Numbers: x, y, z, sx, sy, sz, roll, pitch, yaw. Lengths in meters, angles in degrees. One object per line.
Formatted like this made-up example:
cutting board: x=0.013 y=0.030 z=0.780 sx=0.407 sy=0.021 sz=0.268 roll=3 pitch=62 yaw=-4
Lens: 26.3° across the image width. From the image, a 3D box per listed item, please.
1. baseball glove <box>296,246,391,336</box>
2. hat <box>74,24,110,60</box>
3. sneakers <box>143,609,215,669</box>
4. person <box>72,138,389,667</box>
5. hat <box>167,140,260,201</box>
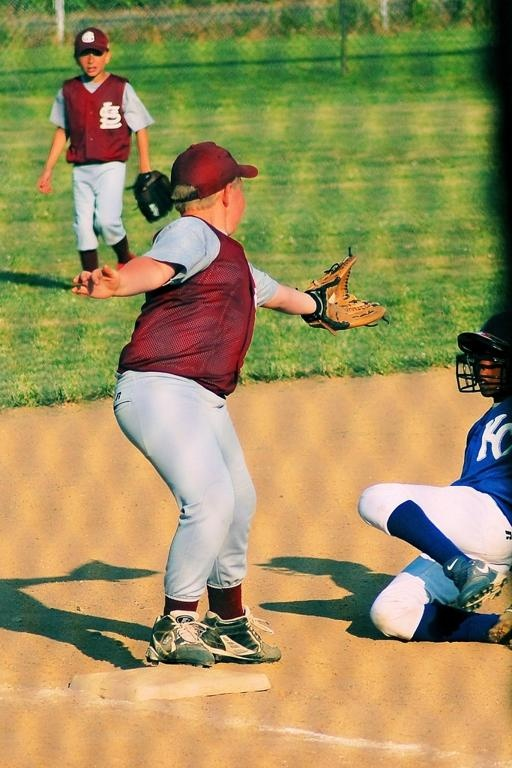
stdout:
baseball glove: x=0.279 y=-0.218 z=3.478 sx=0.233 sy=0.137 sz=0.281 roll=-16 pitch=59 yaw=23
hat: x=-1.047 y=-2.151 z=6.948 sx=0.199 sy=0.209 sz=0.335 roll=-4 pitch=14 yaw=-9
sneakers: x=-0.162 y=0.715 z=3.024 sx=0.271 sy=0.127 sz=0.095 roll=2 pitch=-4 yaw=19
person: x=-0.131 y=0.074 z=3.148 sx=0.436 sy=1.489 sz=0.988 roll=4 pitch=16 yaw=22
hat: x=-0.111 y=-0.589 z=3.105 sx=0.225 sy=0.114 sz=0.143 roll=-22 pitch=32 yaw=-15
